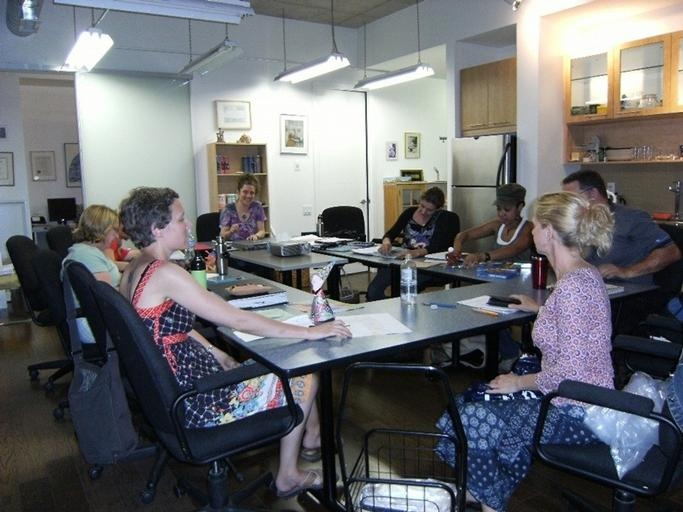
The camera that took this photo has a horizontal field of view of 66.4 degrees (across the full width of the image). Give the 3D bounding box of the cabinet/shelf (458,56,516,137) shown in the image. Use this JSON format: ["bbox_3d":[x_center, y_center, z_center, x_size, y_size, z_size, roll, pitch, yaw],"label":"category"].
[{"bbox_3d":[1.654,-1.865,6.260,0.953,0.823,0.368,-18,22,-30],"label":"cabinet/shelf"}]

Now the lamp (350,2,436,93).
[{"bbox_3d":[0.649,-2.820,6.903,1.371,1.264,0.424,-3,-2,41],"label":"lamp"}]

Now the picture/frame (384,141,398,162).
[{"bbox_3d":[0.750,-1.608,7.979,0.304,0.387,0.029,-6,10,-36],"label":"picture/frame"}]

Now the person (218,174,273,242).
[{"bbox_3d":[-1.066,-0.493,5.777,0.544,0.780,0.517,-5,8,-37],"label":"person"}]

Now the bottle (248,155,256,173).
[{"bbox_3d":[-1.163,-1.203,6.866,0.175,0.243,0.142,-4,12,-13],"label":"bottle"}]

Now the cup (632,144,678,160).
[{"bbox_3d":[3.125,-1.023,5.233,0.293,0.098,0.221,4,6,44],"label":"cup"}]

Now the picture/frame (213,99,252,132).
[{"bbox_3d":[-1.442,-1.835,6.774,0.484,0.371,0.039,-5,5,-37],"label":"picture/frame"}]

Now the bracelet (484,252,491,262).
[{"bbox_3d":[1.152,0.010,4.099,0.051,0.072,0.079,-3,8,23],"label":"bracelet"}]

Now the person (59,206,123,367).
[{"bbox_3d":[-1.661,0.234,3.666,0.638,1.123,0.499,0,6,-22],"label":"person"}]

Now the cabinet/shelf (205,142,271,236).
[{"bbox_3d":[-1.355,-1.011,6.939,0.689,1.223,0.303,-10,53,-16],"label":"cabinet/shelf"}]

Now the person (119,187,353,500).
[{"bbox_3d":[-0.464,0.498,2.636,1.197,1.551,0.899,0,-2,-26],"label":"person"}]

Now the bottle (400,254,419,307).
[{"bbox_3d":[0.379,0.123,2.941,0.092,0.277,0.148,-2,10,6],"label":"bottle"}]

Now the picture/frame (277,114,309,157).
[{"bbox_3d":[-0.687,-1.679,7.213,0.640,0.533,0.024,-3,9,-28],"label":"picture/frame"}]

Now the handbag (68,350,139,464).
[{"bbox_3d":[-1.192,0.747,2.653,0.358,0.515,0.288,-1,-1,-19],"label":"handbag"}]

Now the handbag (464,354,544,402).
[{"bbox_3d":[0.723,0.522,2.403,0.237,0.092,0.233,-6,4,-25],"label":"handbag"}]

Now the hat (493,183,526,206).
[{"bbox_3d":[1.393,-0.502,4.272,0.218,0.112,0.165,-6,10,-35],"label":"hat"}]

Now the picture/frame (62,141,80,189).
[{"bbox_3d":[-3.908,-1.329,7.637,0.166,0.645,0.292,0,10,15],"label":"picture/frame"}]

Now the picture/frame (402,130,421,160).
[{"bbox_3d":[1.082,-1.745,8.147,0.476,0.568,0.042,-5,7,-41],"label":"picture/frame"}]

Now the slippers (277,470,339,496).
[{"bbox_3d":[-0.174,1.171,2.698,0.294,0.076,0.132,-8,16,-20],"label":"slippers"}]

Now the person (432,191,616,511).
[{"bbox_3d":[0.880,0.503,2.337,0.592,1.541,0.797,7,14,44],"label":"person"}]
